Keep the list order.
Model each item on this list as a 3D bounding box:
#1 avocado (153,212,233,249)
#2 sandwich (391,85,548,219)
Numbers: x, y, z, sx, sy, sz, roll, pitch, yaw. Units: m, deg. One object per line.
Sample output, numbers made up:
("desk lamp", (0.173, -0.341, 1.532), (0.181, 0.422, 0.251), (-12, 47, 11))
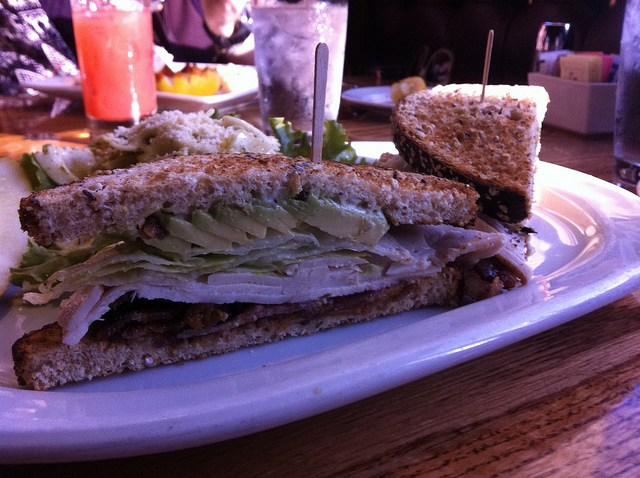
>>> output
("avocado", (-0.342, -0.037, 1.433), (0.186, 0.089, 0.124), (-7, 13, -38))
("sandwich", (0.606, -0.438, 2.118), (0.592, 0.177, 0.769), (30, 49, 20))
